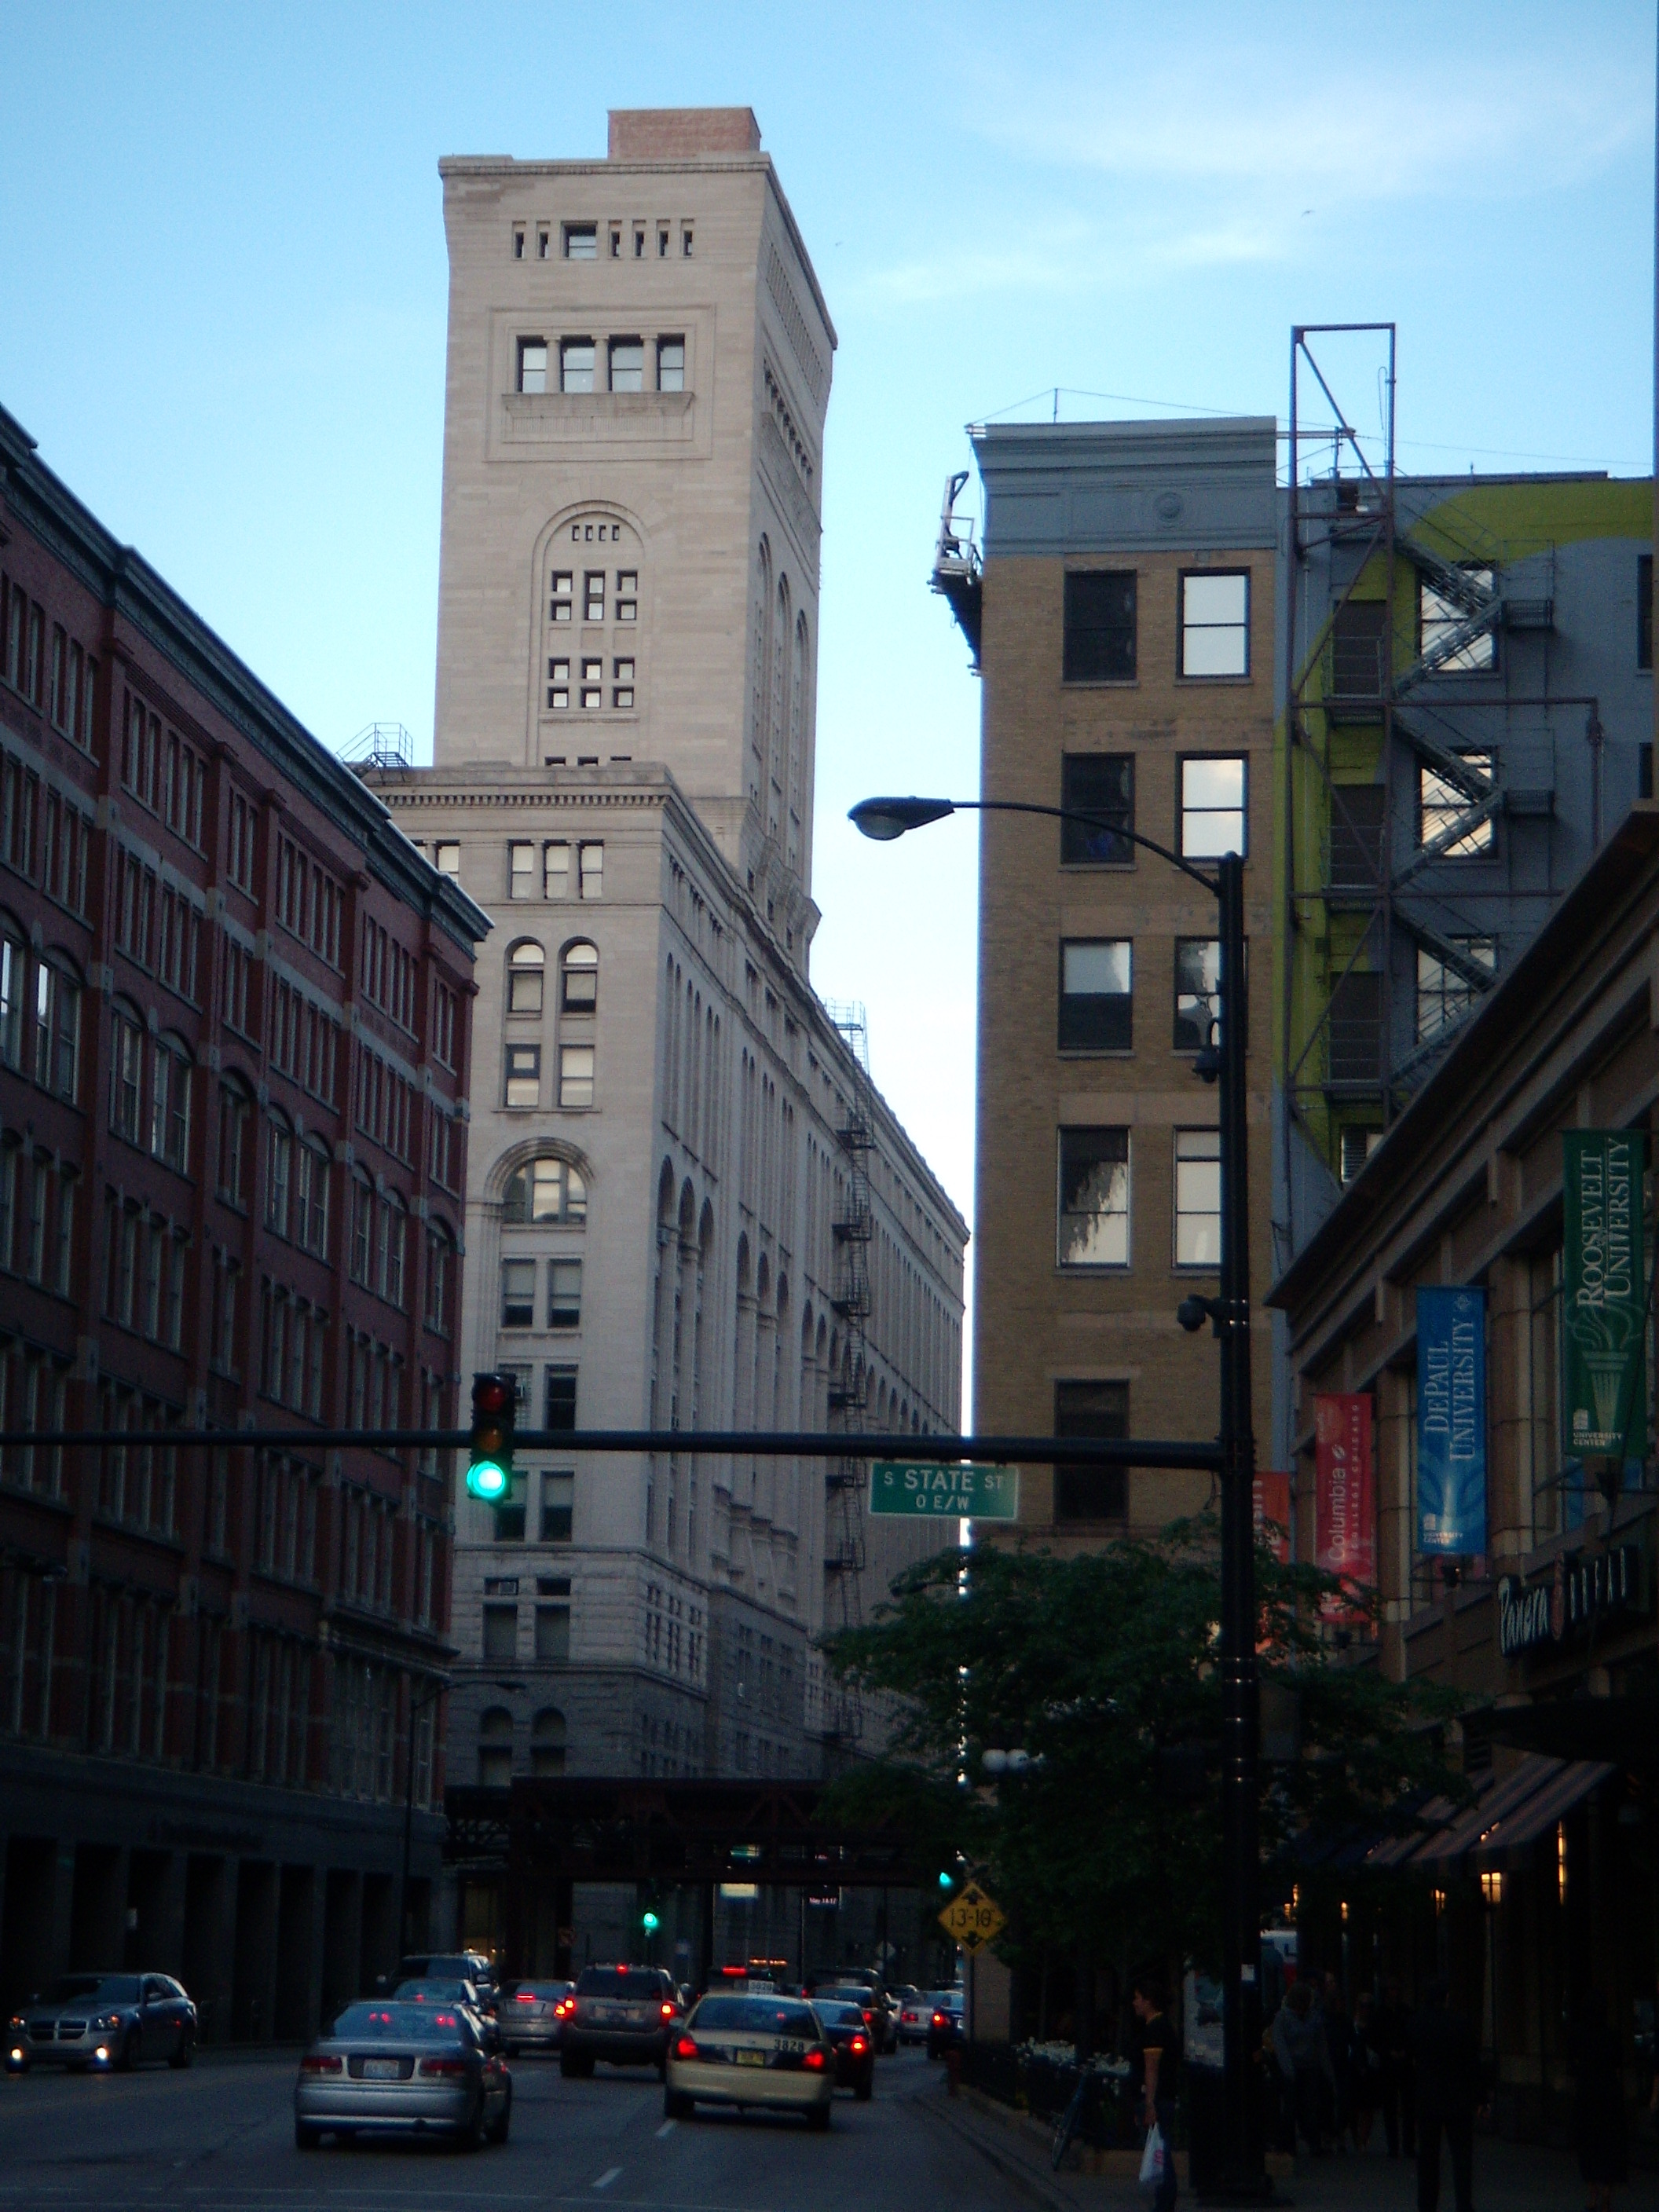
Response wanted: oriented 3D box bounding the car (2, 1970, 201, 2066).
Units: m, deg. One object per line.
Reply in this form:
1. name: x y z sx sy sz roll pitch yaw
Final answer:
1. car: -10.114 12.873 63.841 1.146 1.081 3.006 -4 -20 9
